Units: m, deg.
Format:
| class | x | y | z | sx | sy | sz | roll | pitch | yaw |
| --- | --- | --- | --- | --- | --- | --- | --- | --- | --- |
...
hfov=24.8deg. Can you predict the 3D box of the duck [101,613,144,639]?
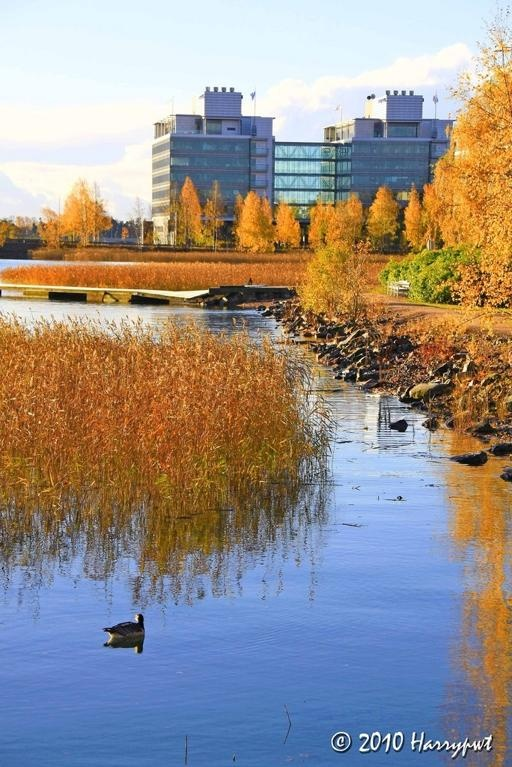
| class | x | y | z | sx | sy | sz | roll | pitch | yaw |
| --- | --- | --- | --- | --- | --- | --- | --- | --- | --- |
| duck | -0.854 | 1.578 | 7.573 | 0.213 | 0.210 | 0.139 | 2 | -10 | -13 |
